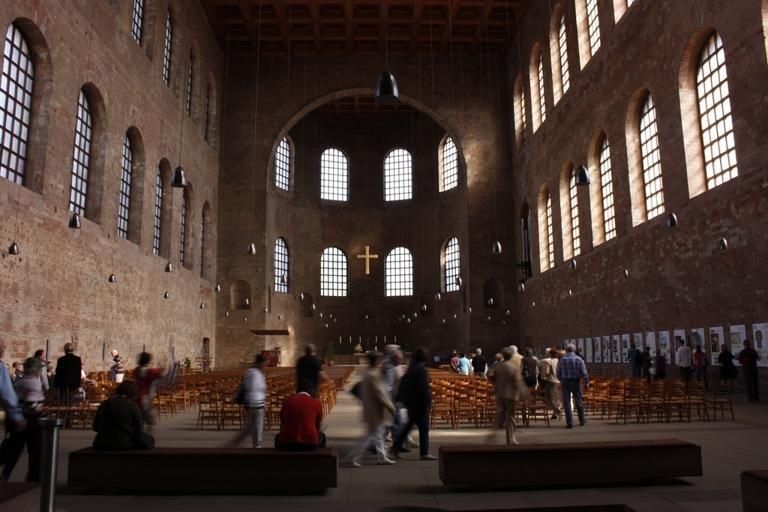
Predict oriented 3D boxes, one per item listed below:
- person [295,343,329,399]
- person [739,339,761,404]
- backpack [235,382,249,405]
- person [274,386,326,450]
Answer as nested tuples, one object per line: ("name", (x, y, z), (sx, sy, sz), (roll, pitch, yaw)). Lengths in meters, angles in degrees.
("person", (-1.682, 2.838, 15.795), (0.526, 1.547, 0.485), (8, 18, 25))
("person", (11.334, 3.548, 20.793), (0.563, 1.879, 0.942), (-9, -15, 27))
("backpack", (-3.180, 3.057, 14.909), (0.226, 0.510, 0.660), (3, -14, -20))
("person", (-1.726, 3.208, 13.314), (1.071, 1.088, 1.040), (0, -11, 20))
